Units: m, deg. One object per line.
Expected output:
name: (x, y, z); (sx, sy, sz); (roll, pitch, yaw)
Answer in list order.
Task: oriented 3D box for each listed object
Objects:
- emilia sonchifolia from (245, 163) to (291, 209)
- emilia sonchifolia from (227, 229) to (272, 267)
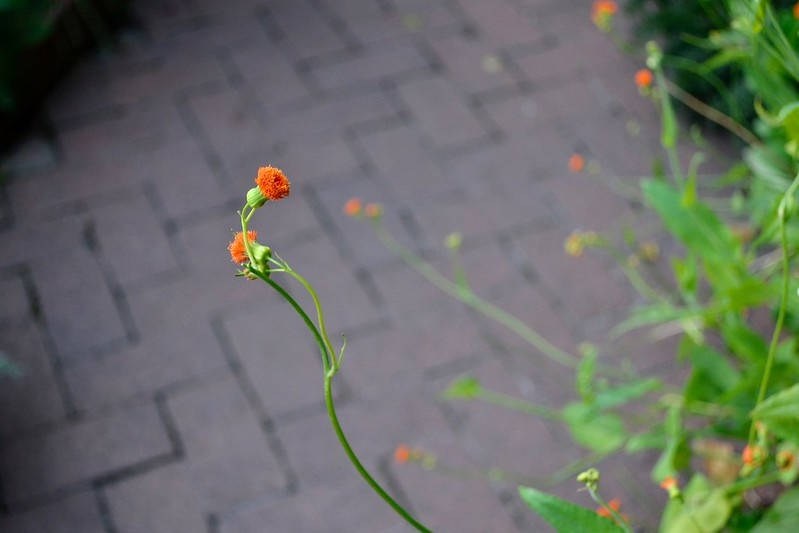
emilia sonchifolia: (-0.261, -0.150, 1.515); (0.068, 0.063, 0.068); (45, 83, -14)
emilia sonchifolia: (-0.327, -0.037, 1.669); (0.061, 0.071, 0.065); (14, 30, 7)
